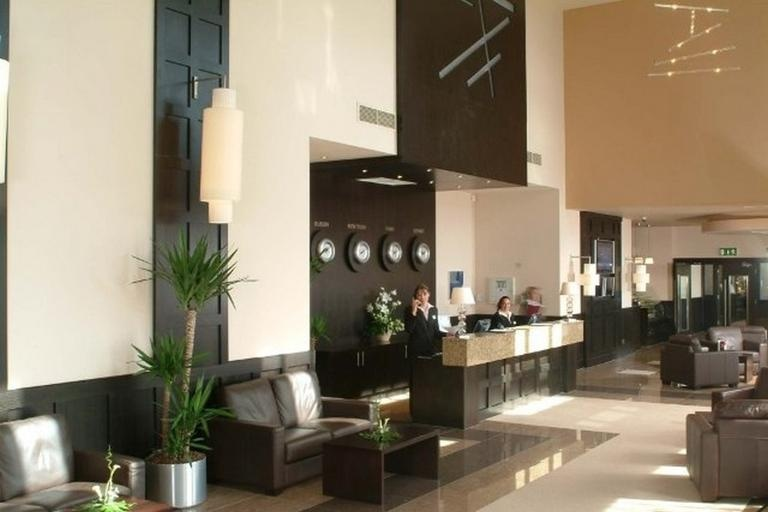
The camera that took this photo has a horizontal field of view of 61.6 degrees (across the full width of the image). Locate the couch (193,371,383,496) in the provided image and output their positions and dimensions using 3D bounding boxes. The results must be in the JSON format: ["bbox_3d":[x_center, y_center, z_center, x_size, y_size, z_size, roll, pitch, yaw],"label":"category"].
[{"bbox_3d":[-1.086,2.199,8.184,1.061,1.185,2.037,-3,-5,31],"label":"couch"}]

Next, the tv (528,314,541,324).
[{"bbox_3d":[3.117,1.324,13.234,0.261,0.186,0.435,0,4,6],"label":"tv"}]

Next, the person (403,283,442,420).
[{"bbox_3d":[0.670,1.554,10.701,0.608,2.094,0.699,1,3,-13],"label":"person"}]

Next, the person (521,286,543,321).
[{"bbox_3d":[3.414,1.052,14.733,0.462,0.716,0.499,1,3,0],"label":"person"}]

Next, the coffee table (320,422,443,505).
[{"bbox_3d":[-0.024,2.394,7.550,0.746,0.668,1.284,4,4,44],"label":"coffee table"}]

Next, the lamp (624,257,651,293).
[{"bbox_3d":[6.782,0.493,17.527,0.465,0.902,0.487,0,-1,20],"label":"lamp"}]

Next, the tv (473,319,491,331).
[{"bbox_3d":[1.801,1.260,11.717,0.053,0.361,0.508,20,6,38],"label":"tv"}]

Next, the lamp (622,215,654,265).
[{"bbox_3d":[7.615,-0.483,19.195,0.630,1.219,1.203,-2,-4,21],"label":"lamp"}]

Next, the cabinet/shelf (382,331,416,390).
[{"bbox_3d":[0.274,1.965,11.900,0.458,1.071,1.243,-4,-7,31],"label":"cabinet/shelf"}]

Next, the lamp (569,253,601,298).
[{"bbox_3d":[4.845,0.498,15.417,0.617,1.009,1.856,2,3,18],"label":"lamp"}]

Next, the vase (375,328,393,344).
[{"bbox_3d":[0.003,1.541,12.429,0.256,0.199,0.265,-3,-4,24],"label":"vase"}]

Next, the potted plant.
[{"bbox_3d":[-2.174,1.205,7.255,1.171,2.885,1.112,-1,4,-35],"label":"potted plant"}]
